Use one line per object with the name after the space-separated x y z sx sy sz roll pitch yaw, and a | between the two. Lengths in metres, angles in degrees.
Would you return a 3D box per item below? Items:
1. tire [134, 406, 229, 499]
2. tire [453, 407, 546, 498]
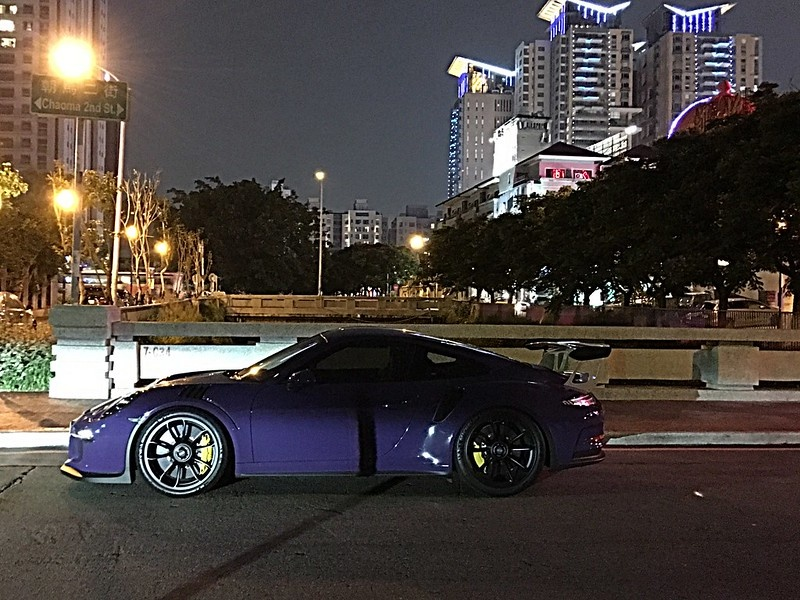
-2.322 1.571 8.679 0.863 0.965 0.320 -2 -2 -1 | tire
1.091 1.627 8.925 0.896 1.001 0.395 -1 -1 -2 | tire
